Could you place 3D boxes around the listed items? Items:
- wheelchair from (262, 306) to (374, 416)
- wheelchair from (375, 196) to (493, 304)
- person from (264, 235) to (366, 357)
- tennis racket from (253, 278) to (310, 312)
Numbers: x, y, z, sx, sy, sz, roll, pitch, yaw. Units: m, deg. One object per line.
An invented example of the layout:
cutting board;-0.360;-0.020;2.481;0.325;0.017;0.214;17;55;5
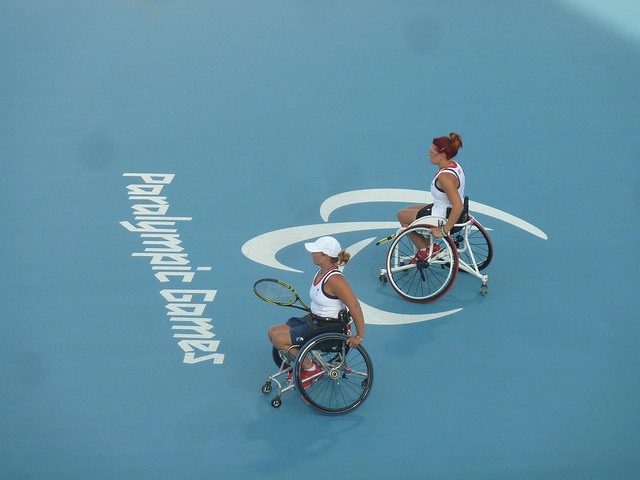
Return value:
wheelchair;0.012;1.541;11.906;1.310;1.586;1.079;-2;-7;-3
wheelchair;1.676;0.226;13.325;1.541;1.578;1.614;1;-67;-2
person;-0.042;0.681;11.671;1.068;1.034;1.621;1;-67;2
tennis racket;-0.547;0.681;11.509;0.515;0.393;0.260;-10;-30;-6
